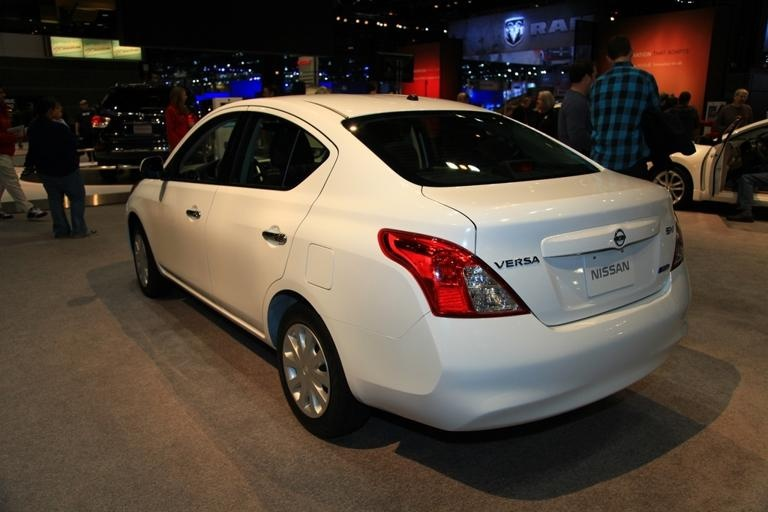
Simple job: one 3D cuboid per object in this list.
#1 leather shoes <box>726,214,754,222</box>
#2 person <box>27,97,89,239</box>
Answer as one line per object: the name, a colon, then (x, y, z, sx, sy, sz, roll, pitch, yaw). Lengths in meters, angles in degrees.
leather shoes: (6.442, -0.680, 8.453, 0.420, 0.198, 0.163, 8, 13, 23)
person: (-5.625, -1.510, 8.002, 0.678, 2.238, 1.203, -13, 22, -35)
